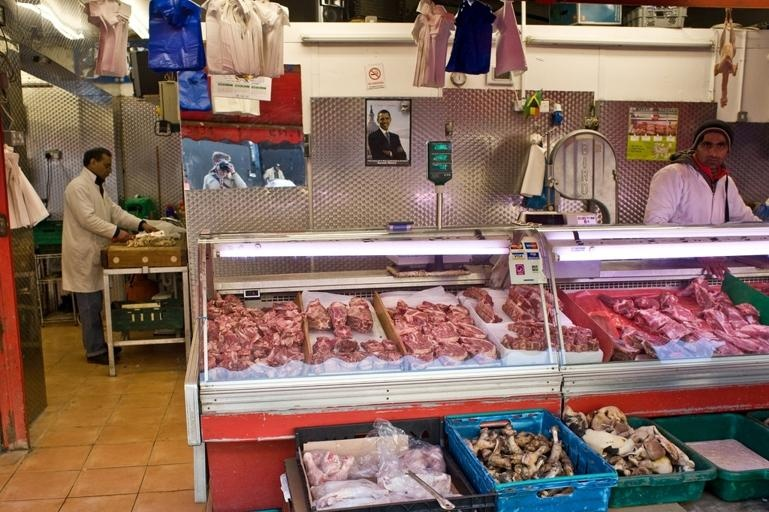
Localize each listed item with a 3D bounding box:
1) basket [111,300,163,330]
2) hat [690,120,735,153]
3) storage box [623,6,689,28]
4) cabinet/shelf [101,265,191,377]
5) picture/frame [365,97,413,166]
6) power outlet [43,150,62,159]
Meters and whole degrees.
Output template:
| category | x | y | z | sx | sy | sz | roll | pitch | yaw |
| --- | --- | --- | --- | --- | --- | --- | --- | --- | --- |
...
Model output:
| category | x | y | z | sx | sy | sz | roll | pitch | yaw |
| --- | --- | --- | --- | --- | --- | --- | --- | --- | --- |
| basket | -2.686 | 0.673 | 6.268 | 0.330 | 0.195 | 0.445 | 0 | 5 | -15 |
| hat | 2.904 | -1.059 | 5.096 | 0.303 | 0.201 | 0.390 | 17 | -10 | 18 |
| storage box | 3.130 | -2.740 | 6.648 | 0.594 | 0.226 | 0.289 | 6 | 16 | 23 |
| cabinet/shelf | -2.661 | 0.751 | 6.477 | 1.093 | 1.024 | 0.795 | -2 | 11 | -11 |
| picture/frame | 0.021 | -1.239 | 5.681 | 0.681 | 0.902 | 0.040 | 0 | 2 | -9 |
| power outlet | -4.796 | -1.445 | 8.346 | 0.239 | 0.126 | 0.158 | -2 | 7 | -4 |
